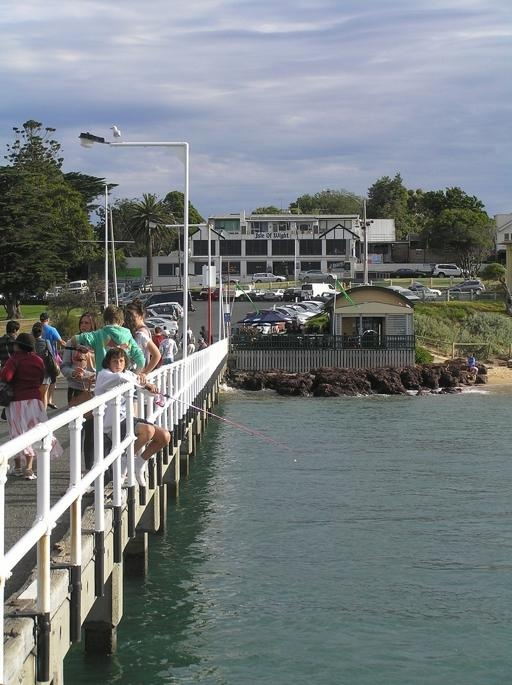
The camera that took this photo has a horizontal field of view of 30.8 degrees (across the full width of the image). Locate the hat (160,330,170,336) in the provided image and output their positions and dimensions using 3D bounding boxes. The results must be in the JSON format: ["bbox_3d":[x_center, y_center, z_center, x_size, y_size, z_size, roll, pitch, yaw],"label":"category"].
[{"bbox_3d":[-2.047,-0.183,20.929,0.165,0.146,0.129,-7,3,23],"label":"hat"}]

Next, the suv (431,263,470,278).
[{"bbox_3d":[21.660,-8.020,105.867,4.470,1.609,2.533,-2,5,-44],"label":"suv"}]
